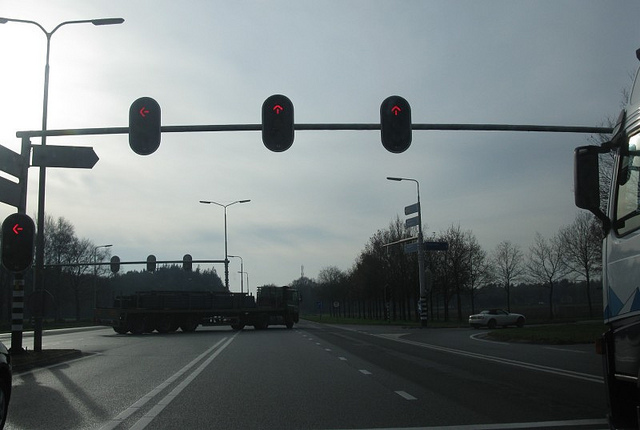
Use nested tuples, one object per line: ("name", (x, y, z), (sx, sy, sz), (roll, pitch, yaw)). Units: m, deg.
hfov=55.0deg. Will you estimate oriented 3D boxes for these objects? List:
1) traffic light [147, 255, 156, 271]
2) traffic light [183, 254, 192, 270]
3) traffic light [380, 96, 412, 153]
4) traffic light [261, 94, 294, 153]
("traffic light", (-13.173, 3.731, 47.705), (0.544, 1.297, 2.189), (2, -13, -16))
("traffic light", (-10.400, 3.737, 47.994), (0.537, 1.258, 1.628), (1, -12, -16))
("traffic light", (2.000, -2.358, 16.113), (0.794, 1.471, 0.411), (-3, -10, 7))
("traffic light", (-1.094, -2.362, 15.933), (0.805, 1.520, 0.291), (0, -10, -6))
